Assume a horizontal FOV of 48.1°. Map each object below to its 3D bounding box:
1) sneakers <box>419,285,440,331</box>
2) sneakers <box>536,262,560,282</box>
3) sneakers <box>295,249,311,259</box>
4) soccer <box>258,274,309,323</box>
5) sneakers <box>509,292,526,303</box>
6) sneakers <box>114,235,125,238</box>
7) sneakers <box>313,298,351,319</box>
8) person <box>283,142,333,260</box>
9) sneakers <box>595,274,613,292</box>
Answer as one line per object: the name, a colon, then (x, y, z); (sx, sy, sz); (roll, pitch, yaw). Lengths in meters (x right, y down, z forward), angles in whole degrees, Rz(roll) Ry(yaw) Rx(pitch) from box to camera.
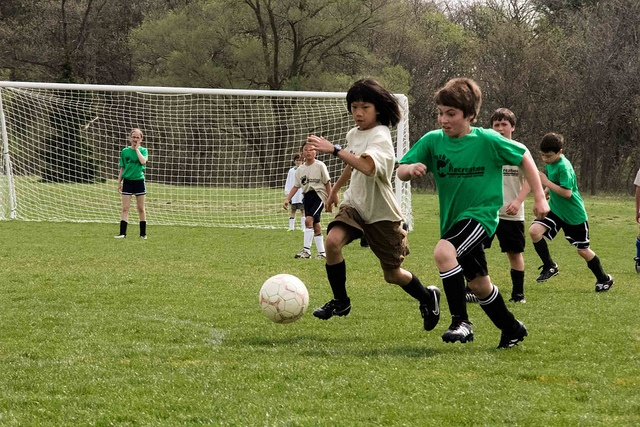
sneakers: (1.505, 1.262, 9.650); (0.290, 0.602, 0.232); (16, -13, -38)
sneakers: (3.732, 0.963, 11.705); (0.499, 0.223, 0.216); (-19, 1, -36)
sneakers: (-0.323, 0.746, 13.528); (0.311, 0.187, 0.315); (1, 2, 0)
soccer: (-0.493, 1.185, 9.873); (0.689, 0.632, 0.679); (9, 6, 21)
sneakers: (3.000, 1.286, 10.803); (0.300, 0.186, 0.097); (-3, -1, 15)
sneakers: (-4.281, 0.493, 15.311); (0.227, 0.077, 0.078); (-1, 1, -3)
sneakers: (0.186, 1.308, 9.860); (0.617, 0.263, 0.211); (-1, 6, -10)
person: (-0.226, -0.226, 13.850); (1.054, 2.257, 0.797); (-3, -9, 4)
sneakers: (4.478, 1.108, 11.253); (0.267, 0.242, 0.085); (1, 2, -2)
